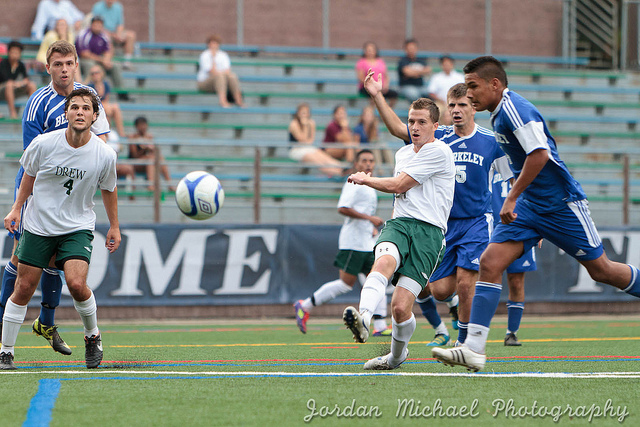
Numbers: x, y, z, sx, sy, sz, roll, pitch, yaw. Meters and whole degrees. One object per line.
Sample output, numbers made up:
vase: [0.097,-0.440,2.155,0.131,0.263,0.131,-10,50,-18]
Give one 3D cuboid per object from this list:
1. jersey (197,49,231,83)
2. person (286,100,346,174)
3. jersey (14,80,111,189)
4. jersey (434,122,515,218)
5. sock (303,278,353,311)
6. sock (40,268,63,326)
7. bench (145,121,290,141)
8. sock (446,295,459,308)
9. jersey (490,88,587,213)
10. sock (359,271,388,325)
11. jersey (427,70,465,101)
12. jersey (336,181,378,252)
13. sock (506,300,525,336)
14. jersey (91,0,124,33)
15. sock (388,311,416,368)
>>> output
jersey: [-1.487,-2.010,15.159,0.463,0.548,0.354,-12,27,-38]
person: [-0.037,-1.424,20.945,0.511,1.216,1.434,-11,20,-39]
jersey: [-3.442,-1.159,15.042,1.299,1.368,0.597,-4,32,-21]
jersey: [2.120,-0.564,15.626,1.773,1.361,0.553,3,10,33]
sock: [0.120,1.310,18.388,0.954,0.249,0.287,-25,-14,2]
sock: [-3.587,1.097,14.653,0.287,0.787,0.199,-2,10,-14]
bench: [-2.037,-1.663,21.796,2.728,0.327,0.403,0,10,-5]
sock: [1.968,1.289,16.378,0.142,0.260,0.405,1,9,5]
jersey: [2.749,-0.796,14.482,0.879,1.689,1.313,-16,-2,-13]
sock: [0.671,1.024,13.835,0.344,0.597,0.393,1,10,3]
jersey: [2.656,-2.723,23.332,0.713,0.605,0.601,0,10,-2]
jersey: [0.603,0.034,17.475,0.611,1.089,0.591,0,10,-4]
sock: [2.884,1.520,16.348,0.217,0.530,0.420,3,10,12]
jersey: [-4.537,-4.229,23.549,0.606,0.650,0.468,-2,10,-12]
sock: [1.031,1.609,14.050,0.319,0.748,0.279,1,10,3]
